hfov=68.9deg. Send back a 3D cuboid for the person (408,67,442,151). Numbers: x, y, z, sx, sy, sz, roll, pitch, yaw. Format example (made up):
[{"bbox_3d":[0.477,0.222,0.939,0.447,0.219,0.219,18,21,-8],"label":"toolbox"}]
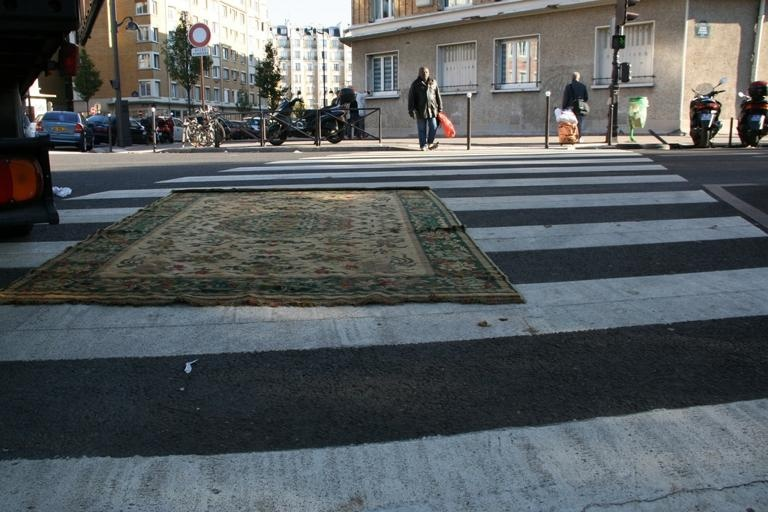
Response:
[{"bbox_3d":[1.207,-4.145,16.252,0.914,2.698,1.426,0,19,3],"label":"person"}]

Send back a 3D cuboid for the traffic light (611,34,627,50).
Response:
[{"bbox_3d":[7.560,-7.064,17.840,0.384,0.510,0.832,6,19,19],"label":"traffic light"}]

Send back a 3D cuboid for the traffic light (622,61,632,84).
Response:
[{"bbox_3d":[7.843,-5.986,17.951,0.296,0.681,1.032,6,19,18],"label":"traffic light"}]

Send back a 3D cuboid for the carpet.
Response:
[{"bbox_3d":[-0.972,-0.013,5.356,3.757,0.160,3.837,-1,18,-1],"label":"carpet"}]

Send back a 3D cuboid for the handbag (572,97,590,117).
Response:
[{"bbox_3d":[6.648,-4.885,18.701,0.454,0.583,0.568,11,22,30],"label":"handbag"}]
